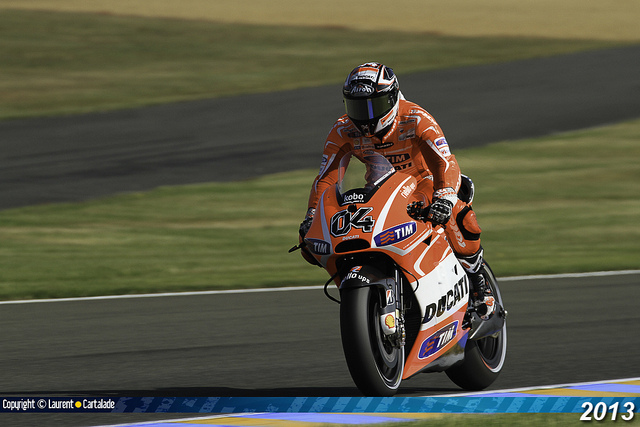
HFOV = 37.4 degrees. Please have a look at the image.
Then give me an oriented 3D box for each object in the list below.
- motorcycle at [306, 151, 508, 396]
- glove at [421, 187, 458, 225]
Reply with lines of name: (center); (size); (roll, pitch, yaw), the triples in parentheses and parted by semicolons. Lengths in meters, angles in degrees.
motorcycle: (0.918, 0.758, 10.329); (1.957, 2.608, 0.861); (-11, 16, -33)
glove: (1.321, -0.092, 10.164); (0.355, 0.384, 0.218); (35, -34, -28)
